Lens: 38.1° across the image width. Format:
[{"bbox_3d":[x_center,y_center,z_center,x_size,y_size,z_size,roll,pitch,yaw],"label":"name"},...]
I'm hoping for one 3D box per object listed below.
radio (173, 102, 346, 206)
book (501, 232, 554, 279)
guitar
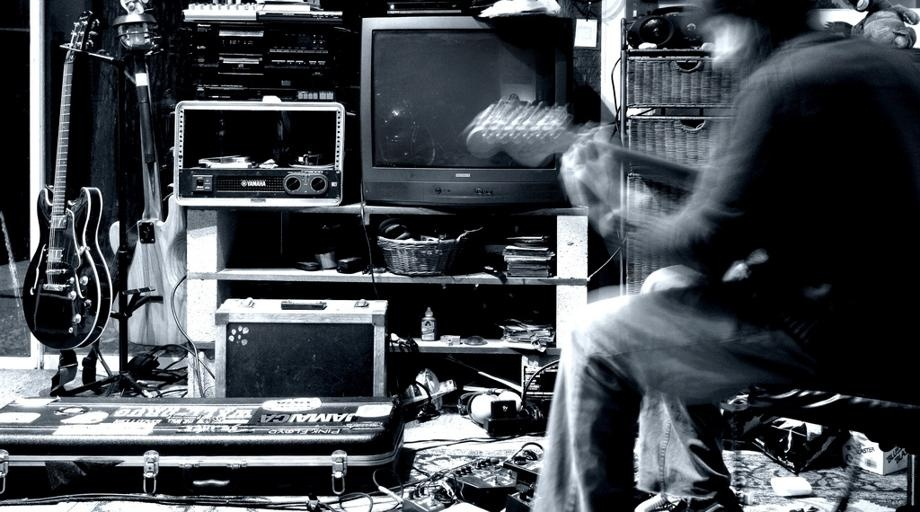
[{"bbox_3d":[-1.085,-0.506,7.235,0.763,0.373,0.678,0,0,-3],"label":"radio"},{"bbox_3d":[0.358,0.010,6.979,0.264,0.205,0.083,-1,-8,7],"label":"book"},{"bbox_3d":[-2.090,-0.351,6.927,0.456,1.648,0.475,-4,14,-14],"label":"guitar"}]
